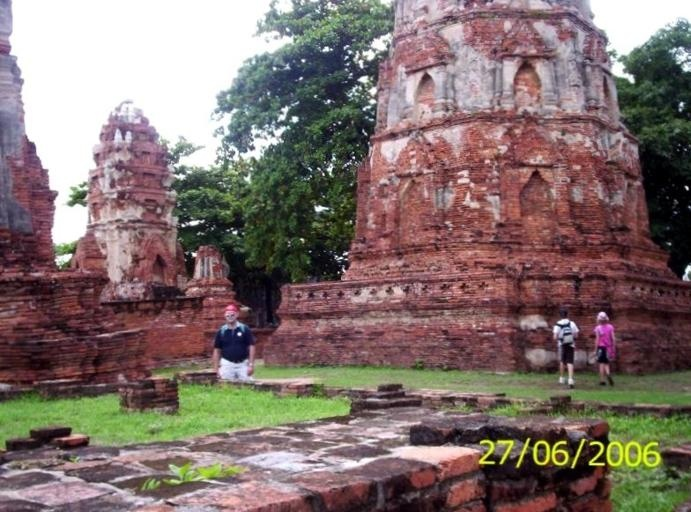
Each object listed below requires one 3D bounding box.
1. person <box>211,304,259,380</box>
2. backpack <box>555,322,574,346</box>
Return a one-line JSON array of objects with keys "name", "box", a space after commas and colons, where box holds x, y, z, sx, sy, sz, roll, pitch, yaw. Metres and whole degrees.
[{"name": "person", "box": [-1.896, 1.453, 10.614, 0.630, 1.274, 0.746, 4, -10, -36]}, {"name": "backpack", "box": [4.066, 1.429, 11.745, 0.314, 0.426, 0.205, -7, -10, 32]}]
